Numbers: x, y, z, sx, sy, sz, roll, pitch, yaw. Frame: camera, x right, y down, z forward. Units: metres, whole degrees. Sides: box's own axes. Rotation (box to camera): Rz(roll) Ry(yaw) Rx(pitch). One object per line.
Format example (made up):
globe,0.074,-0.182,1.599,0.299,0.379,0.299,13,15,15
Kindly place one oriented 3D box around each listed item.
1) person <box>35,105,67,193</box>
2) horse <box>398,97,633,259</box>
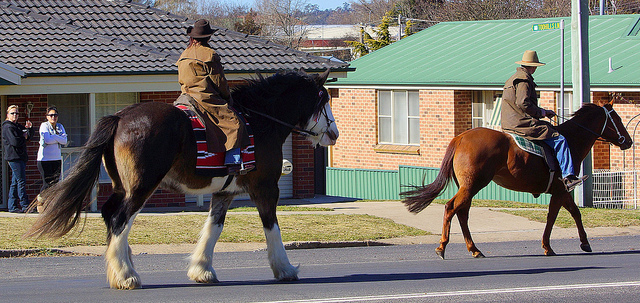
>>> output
person,-10.204,0.039,39.102,1.268,3.331,1.213,-2,0,39
horse,6.773,0.989,35.085,7.281,4.888,1.733,-3,15,-16
